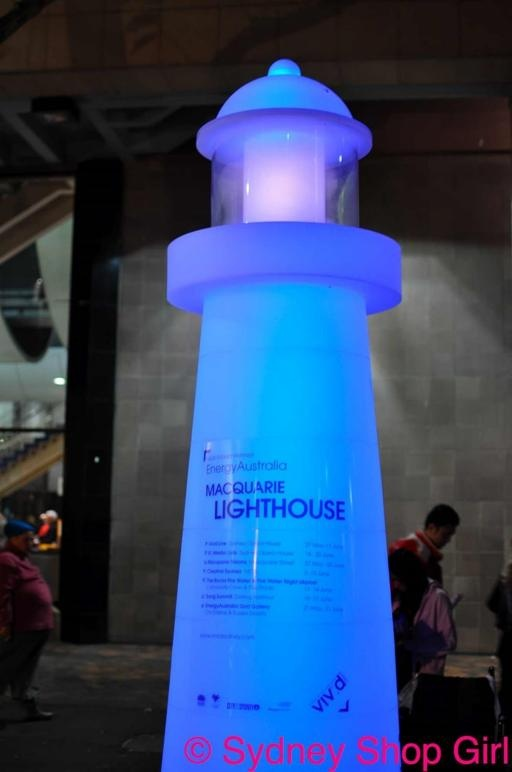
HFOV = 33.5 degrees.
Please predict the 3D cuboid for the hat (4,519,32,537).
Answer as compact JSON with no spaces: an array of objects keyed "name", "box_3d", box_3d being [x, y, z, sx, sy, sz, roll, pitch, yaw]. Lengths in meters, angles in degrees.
[{"name":"hat","box_3d":[-1.633,0.983,5.854,0.136,0.120,0.109,-5,0,1]}]
